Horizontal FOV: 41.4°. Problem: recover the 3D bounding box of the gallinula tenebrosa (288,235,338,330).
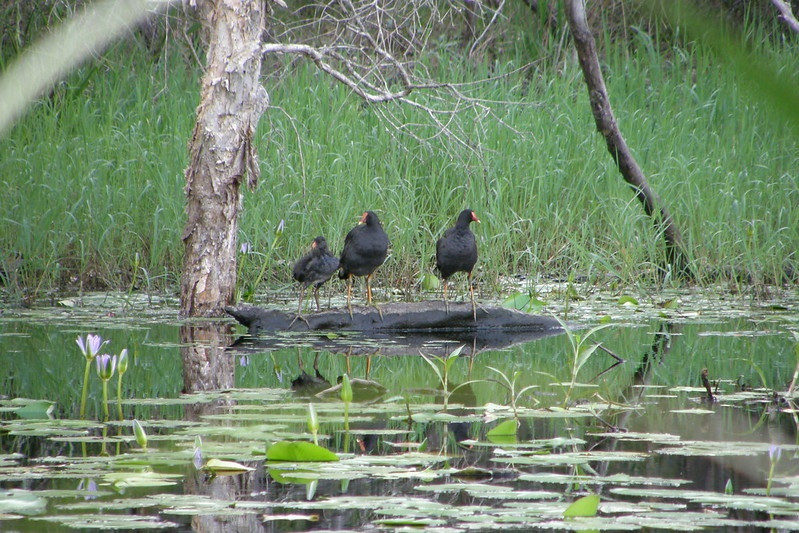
[{"bbox_3d":[-0.755,0.085,8.930,0.343,0.731,0.322,12,13,2],"label":"gallinula tenebrosa"}]
